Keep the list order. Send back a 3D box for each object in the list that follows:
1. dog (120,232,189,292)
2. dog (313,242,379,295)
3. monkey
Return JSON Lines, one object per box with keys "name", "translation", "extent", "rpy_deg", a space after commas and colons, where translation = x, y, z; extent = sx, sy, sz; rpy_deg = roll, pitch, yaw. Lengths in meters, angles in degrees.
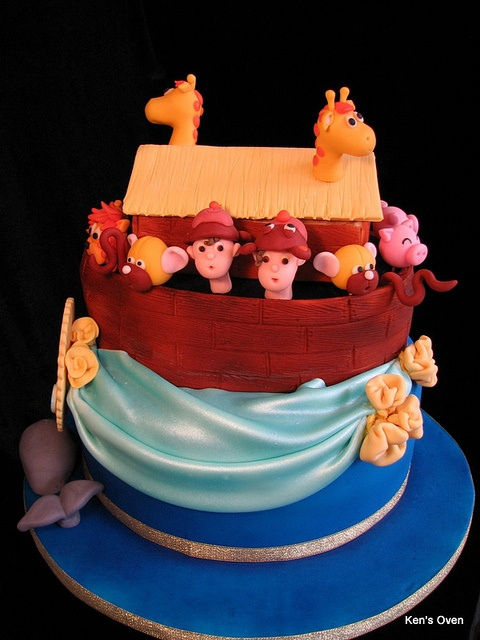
{"name": "dog", "translation": [-0.265, -0.160, 1.828], "extent": [0.168, 0.119, 0.166], "rpy_deg": [-25, 41, -31]}
{"name": "dog", "translation": [0.300, -0.152, 1.796], "extent": [0.219, 0.121, 0.141], "rpy_deg": [-14, 27, -34]}
{"name": "monkey", "translation": [-0.434, -0.291, 2.138], "extent": [0.171, 0.203, 0.185], "rpy_deg": [-7, 18, -31]}
